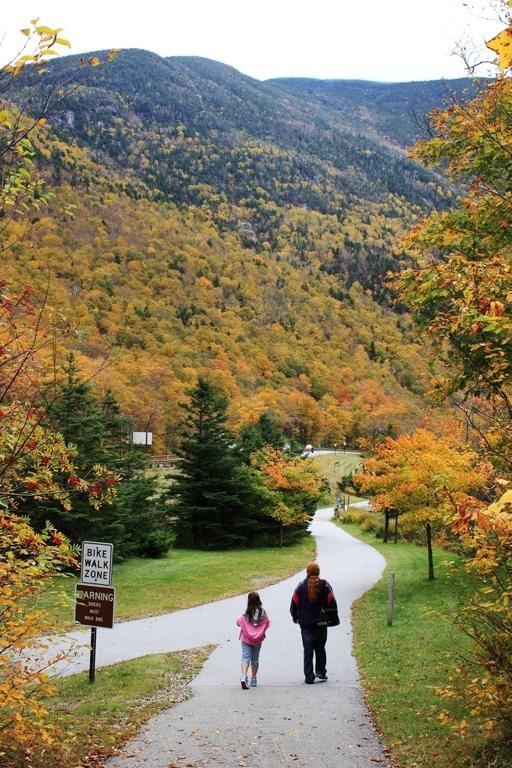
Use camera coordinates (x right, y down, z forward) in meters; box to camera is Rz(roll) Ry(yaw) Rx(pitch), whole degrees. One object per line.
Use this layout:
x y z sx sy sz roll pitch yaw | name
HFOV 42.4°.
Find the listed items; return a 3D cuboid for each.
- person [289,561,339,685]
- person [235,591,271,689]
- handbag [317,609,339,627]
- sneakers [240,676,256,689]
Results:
0.823 3.406 9.402 0.652 1.598 0.788 -2 -10 2 | person
-0.036 3.536 9.119 0.400 1.222 0.982 -1 -10 -2 | person
1.006 3.244 9.074 0.292 0.235 0.158 2 -11 -19 | handbag
-0.101 3.981 8.719 0.108 0.134 0.301 1 -5 12 | sneakers
